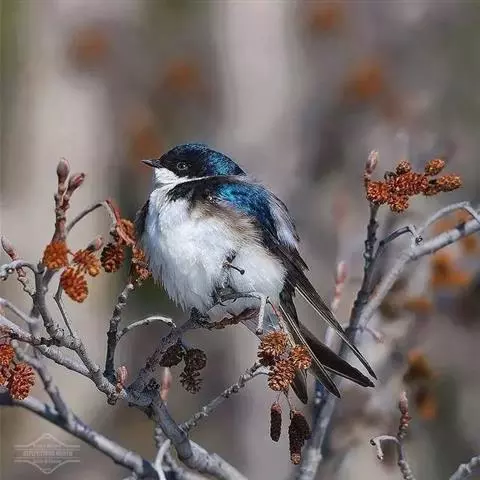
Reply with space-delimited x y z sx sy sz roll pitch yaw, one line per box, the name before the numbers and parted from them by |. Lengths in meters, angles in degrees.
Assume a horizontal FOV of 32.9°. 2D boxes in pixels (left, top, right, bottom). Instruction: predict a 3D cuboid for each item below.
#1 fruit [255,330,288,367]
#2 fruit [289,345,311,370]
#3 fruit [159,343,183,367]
fruit | 0.146 0.501 3.948 0.166 0.129 0.090 -40 -49 10
fruit | 0.295 0.557 3.973 0.119 0.134 0.049 21 -50 -10
fruit | -0.368 0.623 4.432 0.115 0.047 0.135 0 -68 -39
